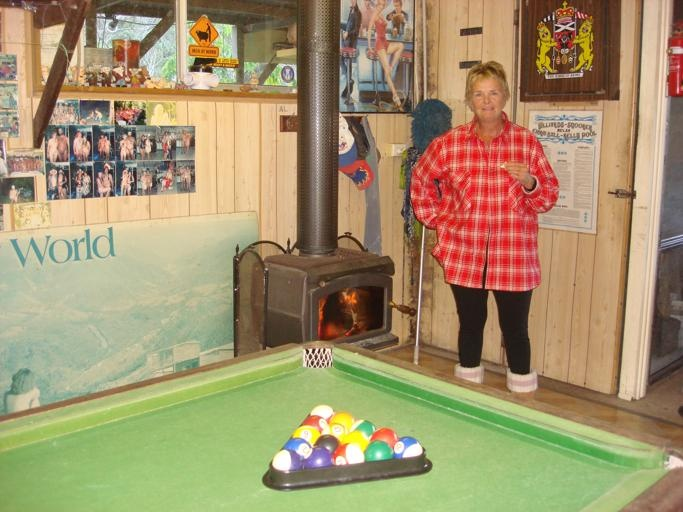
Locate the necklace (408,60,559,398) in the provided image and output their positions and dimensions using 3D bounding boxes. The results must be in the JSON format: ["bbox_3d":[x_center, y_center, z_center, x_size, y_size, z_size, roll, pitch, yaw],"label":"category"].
[{"bbox_3d":[0.805,-0.120,3.066,0.898,1.830,0.655,2,3,21],"label":"necklace"}]
